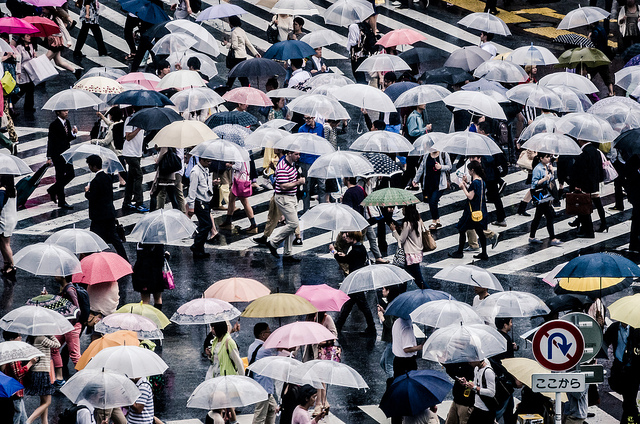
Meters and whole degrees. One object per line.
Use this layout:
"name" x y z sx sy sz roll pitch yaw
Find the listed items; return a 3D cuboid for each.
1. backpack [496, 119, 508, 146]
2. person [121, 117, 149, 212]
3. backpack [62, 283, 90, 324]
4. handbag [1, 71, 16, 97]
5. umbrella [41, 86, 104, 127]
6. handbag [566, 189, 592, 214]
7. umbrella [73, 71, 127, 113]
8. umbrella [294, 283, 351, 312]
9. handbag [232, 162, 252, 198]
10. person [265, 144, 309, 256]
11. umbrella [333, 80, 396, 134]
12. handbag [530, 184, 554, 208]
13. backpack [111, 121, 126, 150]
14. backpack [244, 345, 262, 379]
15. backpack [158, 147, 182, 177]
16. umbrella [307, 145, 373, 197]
"backpack" 4.518 -1.996 30.809 0.259 0.765 0.532 -10 35 -5
"person" -4.416 -1.122 29.127 0.725 2.293 0.832 -5 43 -7
"backpack" -4.571 1.745 23.417 0.637 0.624 0.465 34 33 32
"handbag" -8.102 -3.248 31.890 0.291 0.686 0.688 10 28 -9
"umbrella" -5.768 -2.484 28.988 0.843 0.648 0.830 -1 6 3
"handbag" 5.864 -0.227 27.915 0.527 0.531 0.240 0 5 15
"umbrella" -5.293 -2.912 29.793 1.325 1.140 1.328 2 5 -2
"umbrella" 0.013 1.575 22.873 0.613 0.208 0.618 25 33 38
"handbag" -1.804 -0.737 28.215 0.415 0.753 0.467 8 11 41
"person" -0.741 -0.245 27.560 1.216 3.141 1.180 2 26 3
"umbrella" 0.983 -2.601 29.315 0.940 0.896 0.949 20 -4 -4
"handbag" 4.995 -0.378 27.685 0.322 0.402 0.232 -33 9 12
"backpack" -4.761 -1.774 29.005 0.480 0.549 0.413 -5 6 -4
"backpack" -1.233 2.742 22.174 0.191 0.743 0.521 14 28 -1
"backpack" -3.329 -1.253 27.745 0.539 0.678 0.301 1 53 10
"umbrella" 0.401 -0.933 26.651 0.801 0.768 0.815 -3 8 -5
